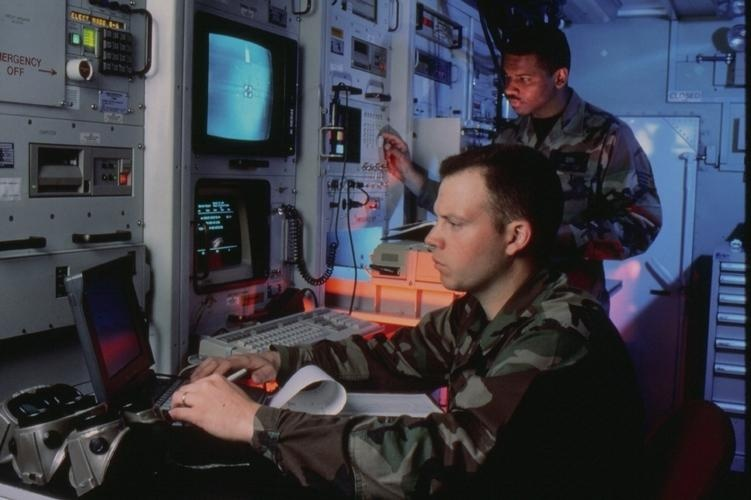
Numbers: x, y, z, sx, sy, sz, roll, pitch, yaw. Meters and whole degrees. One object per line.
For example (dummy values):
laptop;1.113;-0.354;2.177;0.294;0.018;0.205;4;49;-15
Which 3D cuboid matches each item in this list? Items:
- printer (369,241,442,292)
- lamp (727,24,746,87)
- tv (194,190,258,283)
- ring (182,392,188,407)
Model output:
printer;0.177;0.085;3.474;0.335;0.171;0.259;4;6;30
lamp;3.519;-1.923;5.616;0.156;0.627;0.340;4;8;31
tv;-0.821;-0.084;3.101;0.144;0.470;0.463;-6;-7;20
ring;-0.619;0.490;1.884;0.016;0.044;0.032;-2;-1;-13
